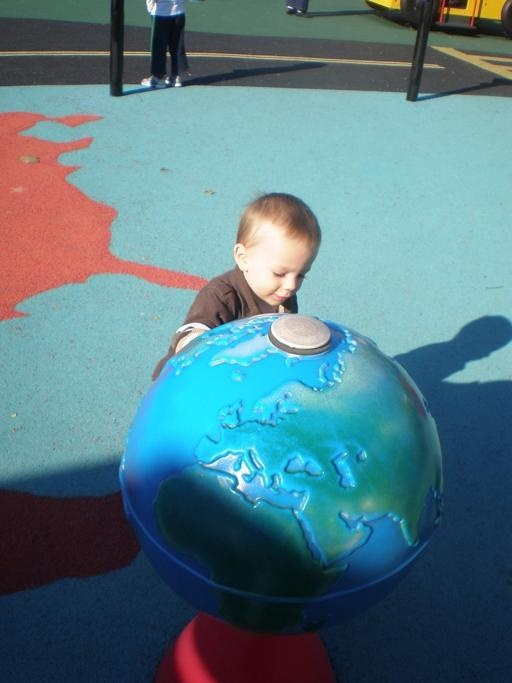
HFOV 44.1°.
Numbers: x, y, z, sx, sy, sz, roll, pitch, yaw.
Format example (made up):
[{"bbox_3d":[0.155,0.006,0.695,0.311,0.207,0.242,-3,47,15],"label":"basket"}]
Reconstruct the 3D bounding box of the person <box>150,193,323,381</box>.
[{"bbox_3d":[-0.075,-0.152,2.109,0.458,0.675,0.457,3,23,-13],"label":"person"}]

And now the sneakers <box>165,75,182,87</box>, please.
[{"bbox_3d":[-1.021,-3.229,7.799,0.116,0.128,0.237,-12,39,-21],"label":"sneakers"}]

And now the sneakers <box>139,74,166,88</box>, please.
[{"bbox_3d":[-1.254,-3.175,7.695,0.155,0.145,0.353,-18,34,-28],"label":"sneakers"}]
